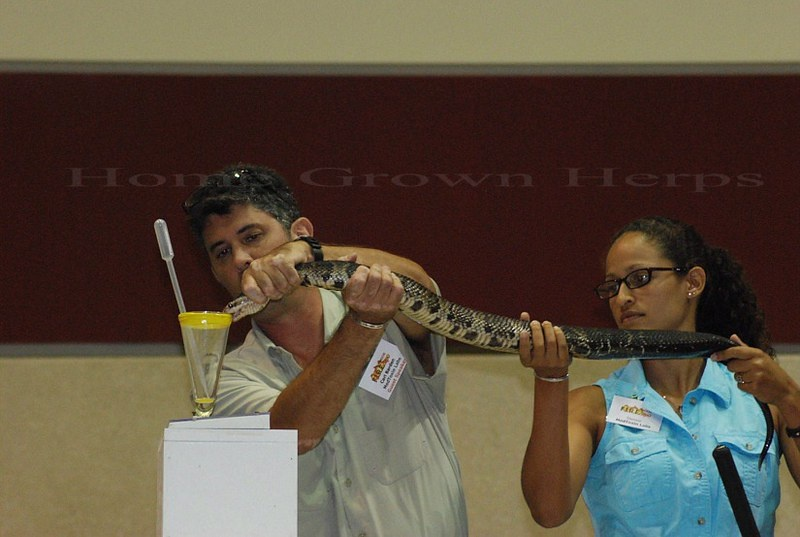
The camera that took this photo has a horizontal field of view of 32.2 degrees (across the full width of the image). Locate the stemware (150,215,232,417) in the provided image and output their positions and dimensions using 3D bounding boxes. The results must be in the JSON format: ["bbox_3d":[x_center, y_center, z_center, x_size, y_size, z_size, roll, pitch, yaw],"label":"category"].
[{"bbox_3d":[-1.019,0.249,7.019,0.411,0.989,0.288,-1,9,-4],"label":"stemware"}]
